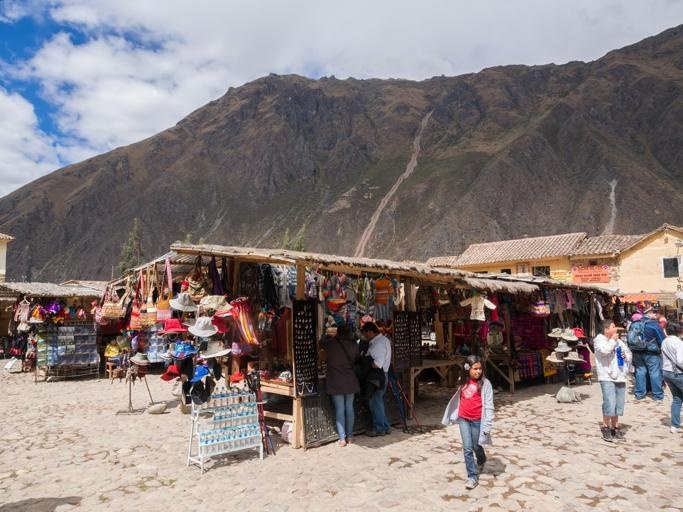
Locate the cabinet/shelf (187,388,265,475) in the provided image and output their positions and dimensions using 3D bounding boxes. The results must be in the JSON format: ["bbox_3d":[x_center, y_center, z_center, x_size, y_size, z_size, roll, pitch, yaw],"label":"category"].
[{"bbox_3d":[-2.000,2.901,9.650,1.226,1.221,1.090,-1,1,-27],"label":"cabinet/shelf"}]

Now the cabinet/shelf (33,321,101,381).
[{"bbox_3d":[-7.535,2.690,15.768,1.032,1.625,1.676,-3,0,44],"label":"cabinet/shelf"}]

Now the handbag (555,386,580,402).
[{"bbox_3d":[5.036,3.104,12.812,0.352,0.218,0.410,0,-2,20],"label":"handbag"}]

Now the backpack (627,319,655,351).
[{"bbox_3d":[6.284,1.654,11.995,0.353,0.626,0.432,21,-19,-9],"label":"backpack"}]

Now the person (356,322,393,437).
[{"bbox_3d":[0.563,2.243,10.578,0.631,2.009,0.633,0,0,-28],"label":"person"}]

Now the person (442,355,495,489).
[{"bbox_3d":[2.014,2.478,8.709,0.793,1.810,0.836,1,-4,-21],"label":"person"}]

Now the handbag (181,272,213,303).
[{"bbox_3d":[-2.776,0.646,11.144,0.519,0.576,0.237,8,-12,0],"label":"handbag"}]

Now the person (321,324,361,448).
[{"bbox_3d":[0.017,2.288,10.067,0.532,1.872,0.749,0,0,7],"label":"person"}]

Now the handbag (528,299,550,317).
[{"bbox_3d":[4.958,1.288,14.154,0.564,0.393,0.380,-1,2,-7],"label":"handbag"}]
